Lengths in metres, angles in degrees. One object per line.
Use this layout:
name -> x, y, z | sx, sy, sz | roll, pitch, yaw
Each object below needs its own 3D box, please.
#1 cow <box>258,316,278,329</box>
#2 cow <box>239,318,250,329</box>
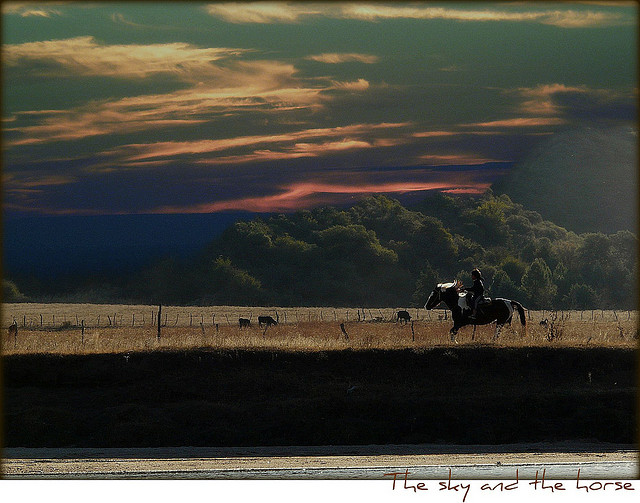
cow -> -4.724, 6.023, 122.086 | 0.998, 0.998, 2.170 | 12, 18, 38
cow -> -6.495, 6.063, 120.811 | 0.711, 0.783, 1.227 | -2, 14, -9
